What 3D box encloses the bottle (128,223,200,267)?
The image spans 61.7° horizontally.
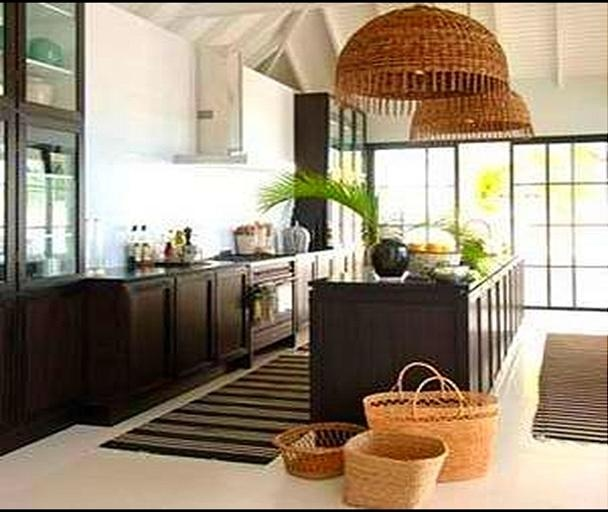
[{"bbox_3d":[-0.638,-0.040,2.328,0.334,0.167,0.102,-1,0,-12],"label":"bottle"}]

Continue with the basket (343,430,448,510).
[{"bbox_3d":[0.301,0.696,1.708,0.288,0.157,0.218,-3,-6,19],"label":"basket"}]

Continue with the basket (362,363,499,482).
[{"bbox_3d":[0.484,0.634,2.083,0.566,0.489,0.338,-1,-4,18],"label":"basket"}]

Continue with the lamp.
[{"bbox_3d":[0.590,-0.746,2.241,0.770,0.535,0.724,0,1,25],"label":"lamp"}]
